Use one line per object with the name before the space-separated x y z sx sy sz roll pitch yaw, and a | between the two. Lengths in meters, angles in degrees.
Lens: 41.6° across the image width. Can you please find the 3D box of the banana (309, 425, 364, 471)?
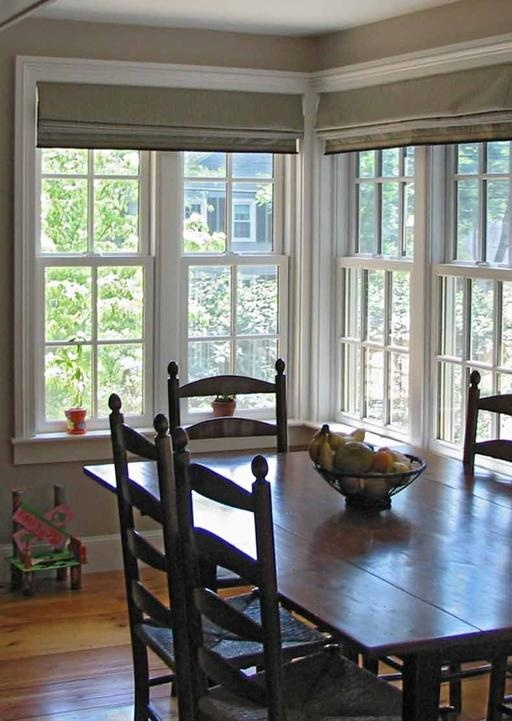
banana | 0.217 0.196 1.721 0.135 0.077 0.041 -8 16 -35

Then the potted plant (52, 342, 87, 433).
potted plant | -0.919 0.125 3.336 0.173 0.467 0.145 0 2 -20

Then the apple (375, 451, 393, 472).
apple | 0.295 0.235 1.557 0.044 0.049 0.041 -3 -11 2

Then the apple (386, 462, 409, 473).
apple | 0.333 0.242 1.548 0.026 0.018 0.031 0 2 -2

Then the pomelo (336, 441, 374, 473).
pomelo | 0.232 0.222 1.570 0.060 0.058 0.079 -5 6 -35
